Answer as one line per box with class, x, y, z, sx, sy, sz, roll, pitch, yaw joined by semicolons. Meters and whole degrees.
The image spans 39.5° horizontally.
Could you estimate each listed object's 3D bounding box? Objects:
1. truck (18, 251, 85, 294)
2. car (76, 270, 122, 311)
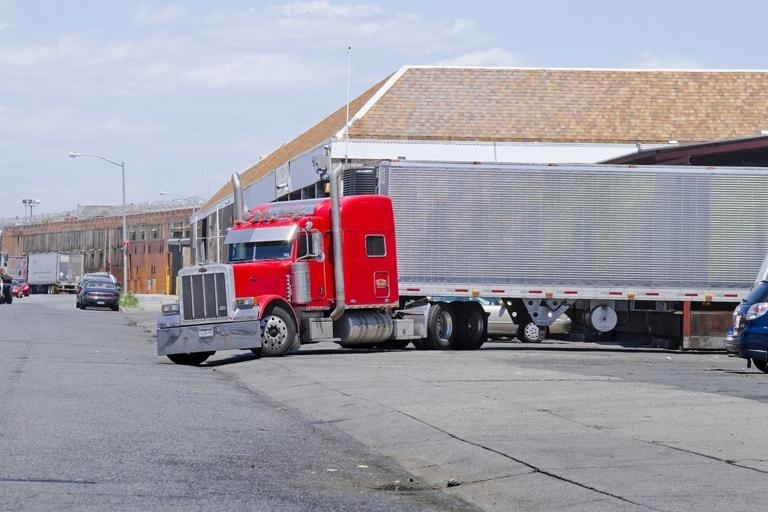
truck;-33.307;1.696;108.718;3.437;3.398;6.708;4;-4;-40
car;-15.294;1.893;57.762;1.635;1.035;3.474;0;3;-10
